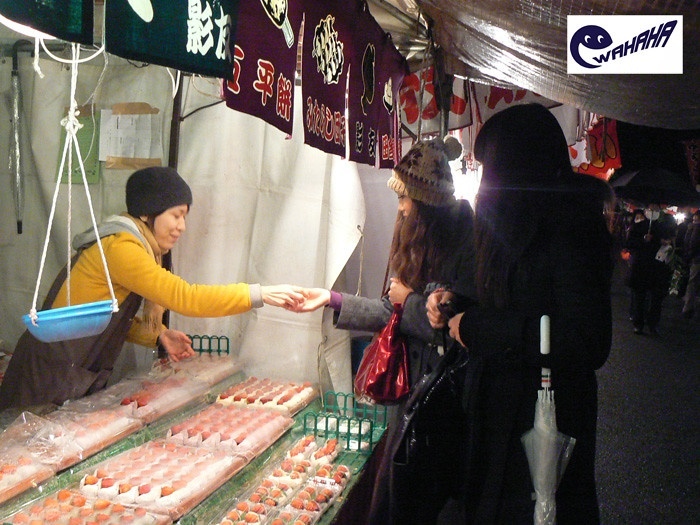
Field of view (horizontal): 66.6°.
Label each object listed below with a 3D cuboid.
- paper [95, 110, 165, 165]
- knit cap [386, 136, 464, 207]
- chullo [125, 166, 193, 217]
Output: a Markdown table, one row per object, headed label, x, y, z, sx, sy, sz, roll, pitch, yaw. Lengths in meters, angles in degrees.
| label | x | y | z | sx | sy | sz | roll | pitch | yaw |
| --- | --- | --- | --- | --- | --- | --- | --- | --- | --- |
| paper | -1.791 | -1.053 | 4.395 | 0.527 | 0.508 | 0.047 | 3 | 1 | 15 |
| knit cap | 0.428 | -0.545 | 3.058 | 0.385 | 0.427 | 0.383 | 2 | 14 | -7 |
| chullo | -1.211 | -0.445 | 3.381 | 0.404 | 0.323 | 0.423 | 3 | 7 | -23 |
